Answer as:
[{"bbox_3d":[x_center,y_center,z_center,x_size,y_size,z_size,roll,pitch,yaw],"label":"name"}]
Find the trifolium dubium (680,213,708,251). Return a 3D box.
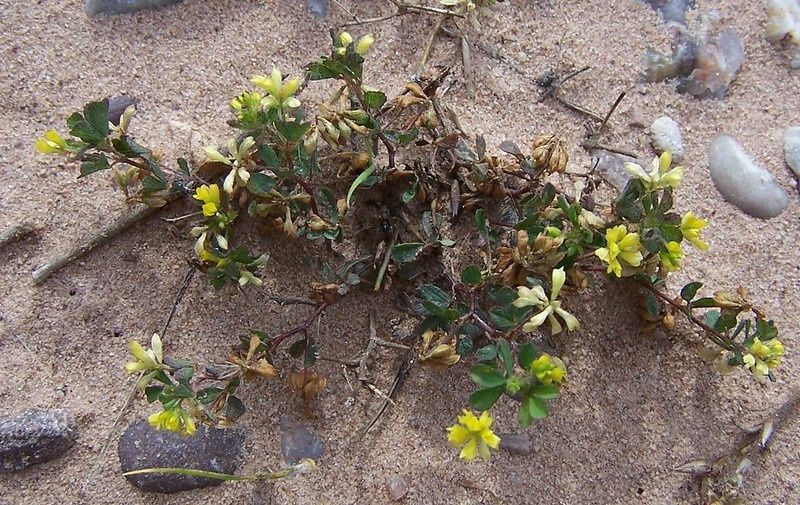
[{"bbox_3d":[1.199,-0.080,3.101,0.077,0.151,0.153,-6,64,18],"label":"trifolium dubium"}]

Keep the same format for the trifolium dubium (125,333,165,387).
[{"bbox_3d":[-1.026,0.442,3.063,0.136,0.211,0.189,-11,82,-3],"label":"trifolium dubium"}]

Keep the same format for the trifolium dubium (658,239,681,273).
[{"bbox_3d":[1.117,0.020,3.102,0.048,0.106,0.131,-7,102,-33],"label":"trifolium dubium"}]

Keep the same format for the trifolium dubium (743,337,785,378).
[{"bbox_3d":[1.523,0.447,3.195,0.146,0.114,0.165,6,81,-1],"label":"trifolium dubium"}]

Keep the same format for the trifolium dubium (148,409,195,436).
[{"bbox_3d":[-0.924,0.668,3.036,0.141,0.072,0.123,13,38,2],"label":"trifolium dubium"}]

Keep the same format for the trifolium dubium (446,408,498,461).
[{"bbox_3d":[0.262,0.691,2.964,0.097,0.221,0.220,33,105,-11],"label":"trifolium dubium"}]
